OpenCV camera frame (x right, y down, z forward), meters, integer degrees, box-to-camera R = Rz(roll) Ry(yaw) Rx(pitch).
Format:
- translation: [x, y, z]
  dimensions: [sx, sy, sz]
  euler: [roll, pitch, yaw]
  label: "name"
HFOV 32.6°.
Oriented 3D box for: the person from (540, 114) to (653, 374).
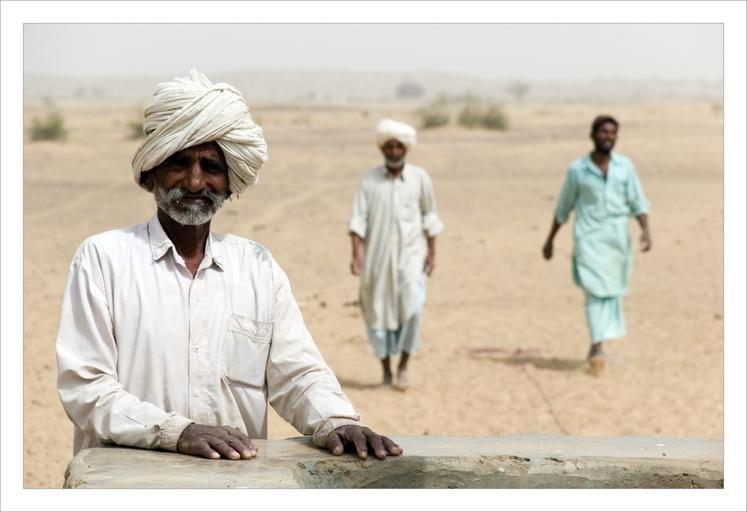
- translation: [2.358, -0.277, 13.161]
  dimensions: [0.987, 2.354, 0.295]
  euler: [5, 7, 10]
  label: "person"
